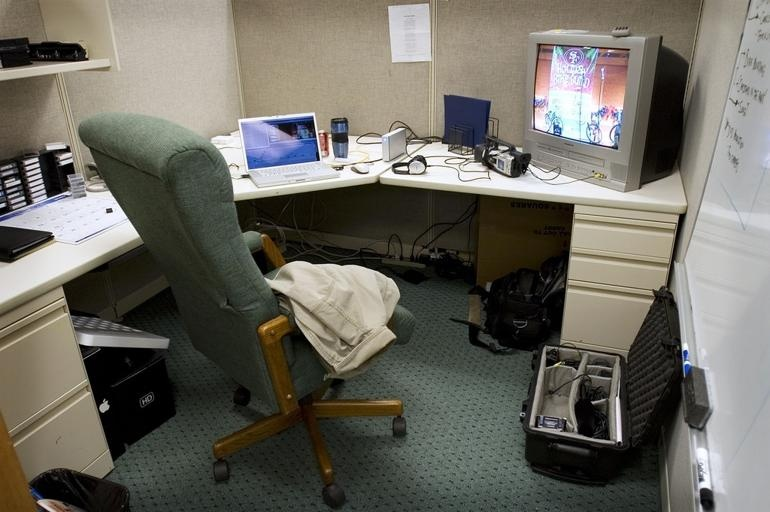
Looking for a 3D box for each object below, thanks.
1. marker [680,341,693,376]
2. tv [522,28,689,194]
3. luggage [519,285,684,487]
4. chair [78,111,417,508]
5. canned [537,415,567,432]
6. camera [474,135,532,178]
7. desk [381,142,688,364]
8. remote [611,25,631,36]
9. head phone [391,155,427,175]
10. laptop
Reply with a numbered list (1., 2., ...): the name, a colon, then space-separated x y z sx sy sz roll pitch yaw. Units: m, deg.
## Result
1. marker: 1.037 0.351 1.865 0.040 0.149 0.041 -1 -13 26
2. tv: 1.182 -0.797 2.789 0.630 0.691 0.708 -16 29 -21
3. luggage: 0.926 0.539 2.388 0.639 0.678 0.762 2 23 10
4. chair: -0.627 0.265 2.367 1.139 1.686 1.149 27 38 37
5. canned: 0.690 0.697 2.242 0.137 0.050 0.078 2 27 7
6. camera: 0.588 -0.539 2.881 0.163 0.170 0.329 -12 29 -25
7. desk: 1.039 -0.052 2.997 1.610 0.866 0.832 8 22 23
8. remote: 1.059 -0.999 2.420 0.082 0.036 0.085 -25 35 -38
9. head phone: 0.129 -0.487 2.906 0.150 0.069 0.119 -4 25 8
10. laptop: -0.541 -0.570 2.844 0.493 0.293 0.442 -13 31 -26
